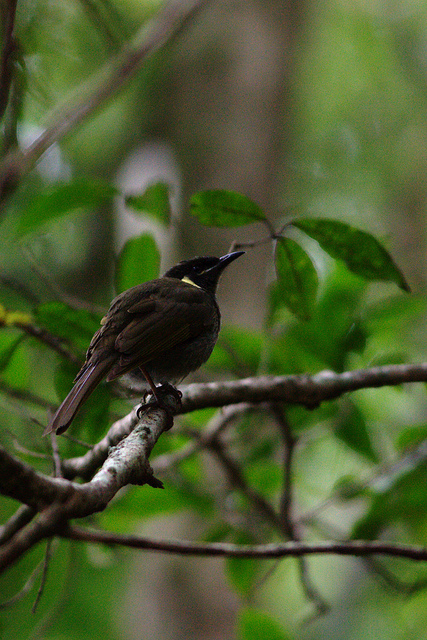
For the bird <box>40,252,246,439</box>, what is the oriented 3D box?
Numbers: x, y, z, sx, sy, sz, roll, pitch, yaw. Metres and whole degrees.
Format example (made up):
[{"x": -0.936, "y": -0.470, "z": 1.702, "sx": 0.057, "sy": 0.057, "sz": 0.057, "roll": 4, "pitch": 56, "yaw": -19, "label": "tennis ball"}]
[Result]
[{"x": -0.380, "y": 0.089, "z": 4.084, "sx": 1.292, "sy": 0.884, "sz": 0.510, "roll": -6, "pitch": -2, "yaw": -41, "label": "bird"}]
